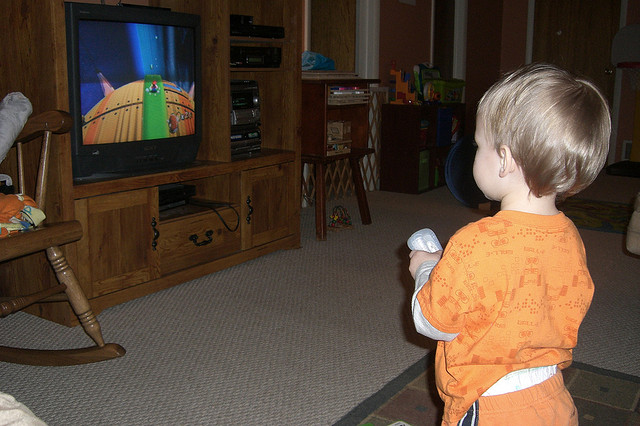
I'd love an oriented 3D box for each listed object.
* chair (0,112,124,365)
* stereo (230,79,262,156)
[{"bbox_3d":[-1.265,0.087,2.154,0.476,1.034,0.772,-12,21,-27],"label":"chair"},{"bbox_3d":[-0.510,-0.637,3.199,0.105,0.469,0.311,9,22,29],"label":"stereo"}]
